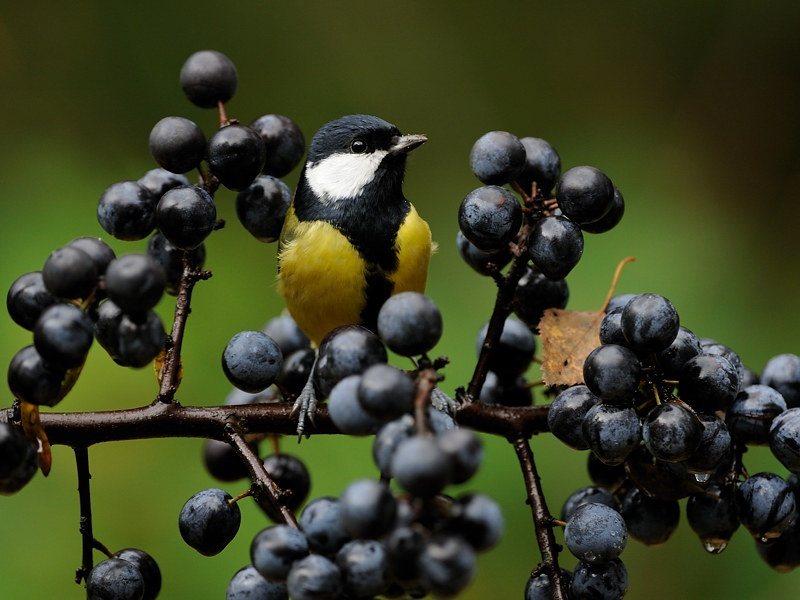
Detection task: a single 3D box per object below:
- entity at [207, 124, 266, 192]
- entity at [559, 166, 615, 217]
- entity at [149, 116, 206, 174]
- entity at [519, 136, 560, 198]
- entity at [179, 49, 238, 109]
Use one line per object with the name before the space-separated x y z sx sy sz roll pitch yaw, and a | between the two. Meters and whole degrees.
entity | -0.419 -0.352 2.544 0.135 0.187 0.141 -1 4 -17
entity | 0.449 -0.251 2.478 0.109 0.150 0.119 -1 20 -4
entity | -0.561 -0.395 2.553 0.130 0.134 0.114 -10 -29 27
entity | 0.356 -0.332 2.608 0.115 0.165 0.127 3 -7 -5
entity | -0.505 -0.585 2.667 0.141 0.168 0.146 -6 20 -5
